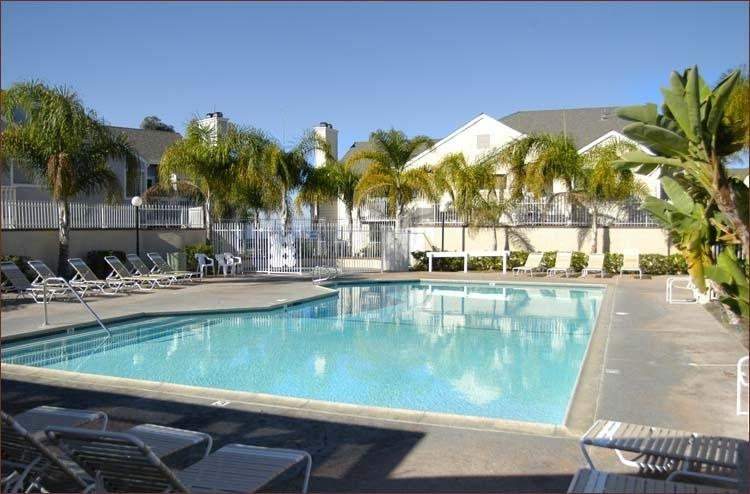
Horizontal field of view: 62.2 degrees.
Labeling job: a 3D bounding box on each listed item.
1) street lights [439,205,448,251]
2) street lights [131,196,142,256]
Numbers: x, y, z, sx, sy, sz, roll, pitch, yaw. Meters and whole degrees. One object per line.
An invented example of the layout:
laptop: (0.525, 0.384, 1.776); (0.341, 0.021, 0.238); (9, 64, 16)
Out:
street lights: (3.201, -0.812, 29.399); (0.317, 1.924, 0.444); (-2, 2, 29)
street lights: (-9.152, -0.772, 23.964); (0.303, 1.883, 0.864); (-3, 2, -21)
